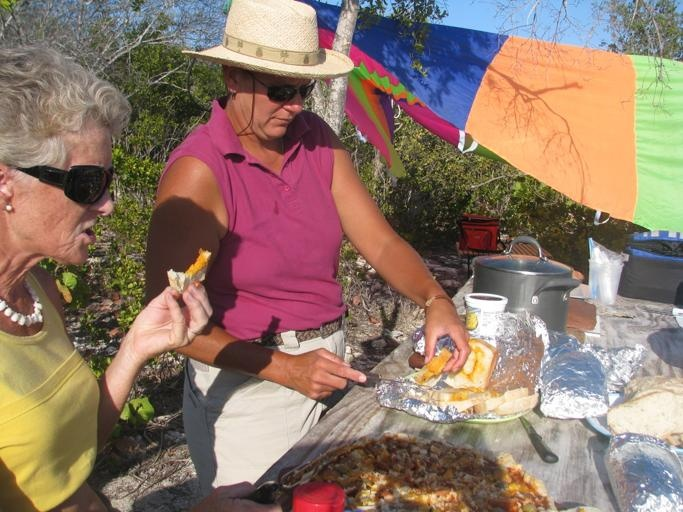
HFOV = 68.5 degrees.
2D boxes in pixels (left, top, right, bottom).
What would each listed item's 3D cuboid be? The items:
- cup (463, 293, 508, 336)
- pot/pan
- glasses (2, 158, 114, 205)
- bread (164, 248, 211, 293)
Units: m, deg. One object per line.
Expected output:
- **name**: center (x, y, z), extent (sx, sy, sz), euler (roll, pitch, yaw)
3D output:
- **cup**: center (0.638, 0.245, 2.225), extent (0.192, 0.195, 0.167), euler (7, 11, 21)
- **pot/pan**: center (0.945, 0.099, 2.693), extent (0.520, 0.561, 0.442), euler (4, 7, -1)
- **glasses**: center (-0.814, -0.211, 1.492), extent (0.249, 0.120, 0.053), euler (-9, 26, -39)
- **bread**: center (-0.493, 0.058, 1.681), extent (0.083, 0.092, 0.221), euler (10, 25, 13)
